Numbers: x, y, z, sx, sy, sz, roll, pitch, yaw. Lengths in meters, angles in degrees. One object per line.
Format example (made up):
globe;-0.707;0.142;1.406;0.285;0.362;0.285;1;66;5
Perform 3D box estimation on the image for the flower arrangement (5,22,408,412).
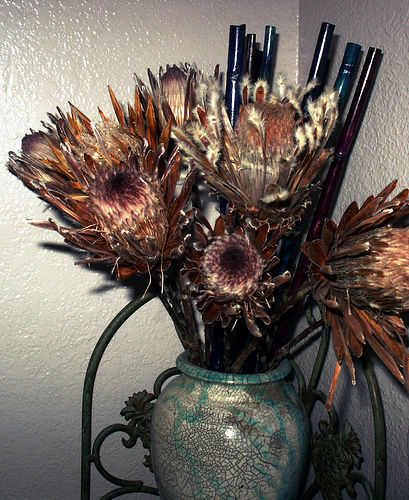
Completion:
flower arrangement;-0.008;-0.049;0.632;0.340;0.469;0.496;-16;28;-21
